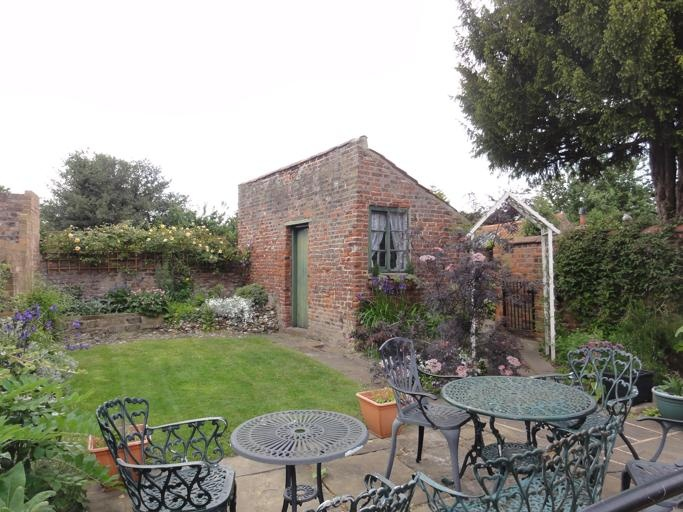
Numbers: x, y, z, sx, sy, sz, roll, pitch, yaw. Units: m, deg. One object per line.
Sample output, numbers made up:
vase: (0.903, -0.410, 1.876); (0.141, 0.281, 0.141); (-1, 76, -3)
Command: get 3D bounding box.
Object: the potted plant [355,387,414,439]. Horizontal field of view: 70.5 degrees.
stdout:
potted plant: (0.542, 1.959, 6.234); (0.521, 0.498, 0.614); (1, 0, -23)
